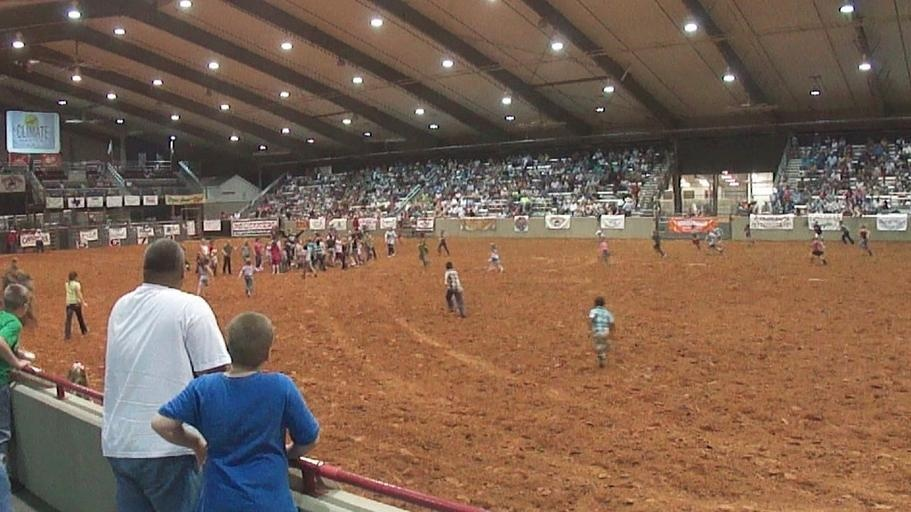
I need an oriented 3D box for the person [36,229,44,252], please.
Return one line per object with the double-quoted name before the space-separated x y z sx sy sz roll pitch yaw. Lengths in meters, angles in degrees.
"person" -33.831 -1.248 61.323 0.492 1.536 0.867 -1 1 -34
